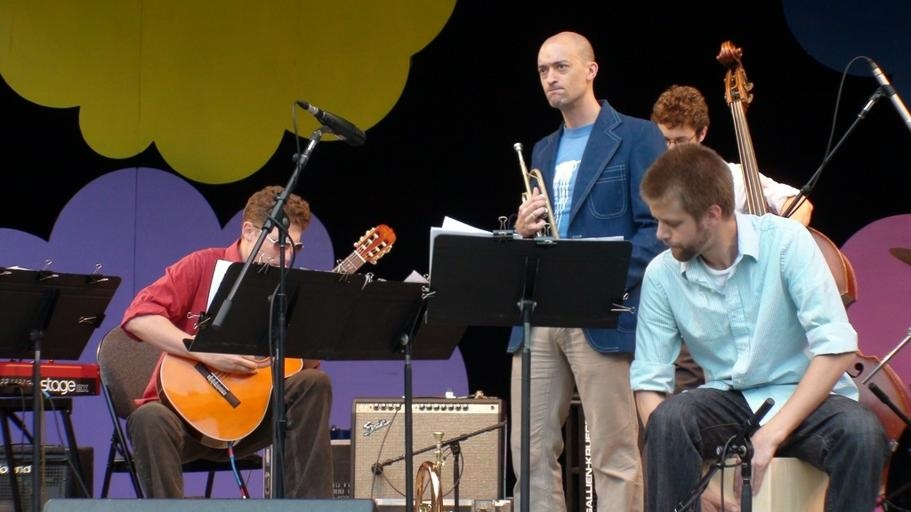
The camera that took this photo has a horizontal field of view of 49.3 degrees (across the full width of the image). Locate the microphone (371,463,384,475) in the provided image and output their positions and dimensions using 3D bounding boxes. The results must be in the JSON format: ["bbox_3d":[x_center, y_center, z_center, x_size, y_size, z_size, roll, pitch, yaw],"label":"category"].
[{"bbox_3d":[-0.633,1.739,8.091,0.081,0.046,0.084,3,1,-7],"label":"microphone"}]

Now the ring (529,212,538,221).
[{"bbox_3d":[0.549,-0.294,6.985,0.051,0.056,0.017,0,8,2],"label":"ring"}]

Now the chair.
[{"bbox_3d":[-2.251,1.162,8.173,1.090,1.541,1.182,-1,-2,37],"label":"chair"}]

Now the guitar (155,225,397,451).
[{"bbox_3d":[-1.438,0.598,8.199,0.995,2.499,0.361,44,-28,-12],"label":"guitar"}]

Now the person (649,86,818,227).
[{"bbox_3d":[2.282,-0.839,8.302,1.090,1.313,1.987,2,1,15],"label":"person"}]

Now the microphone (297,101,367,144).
[{"bbox_3d":[-0.894,-0.979,7.094,0.532,0.150,0.105,31,21,-19],"label":"microphone"}]

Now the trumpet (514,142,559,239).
[{"bbox_3d":[0.606,-0.485,7.239,0.277,0.976,0.265,3,0,4],"label":"trumpet"}]
